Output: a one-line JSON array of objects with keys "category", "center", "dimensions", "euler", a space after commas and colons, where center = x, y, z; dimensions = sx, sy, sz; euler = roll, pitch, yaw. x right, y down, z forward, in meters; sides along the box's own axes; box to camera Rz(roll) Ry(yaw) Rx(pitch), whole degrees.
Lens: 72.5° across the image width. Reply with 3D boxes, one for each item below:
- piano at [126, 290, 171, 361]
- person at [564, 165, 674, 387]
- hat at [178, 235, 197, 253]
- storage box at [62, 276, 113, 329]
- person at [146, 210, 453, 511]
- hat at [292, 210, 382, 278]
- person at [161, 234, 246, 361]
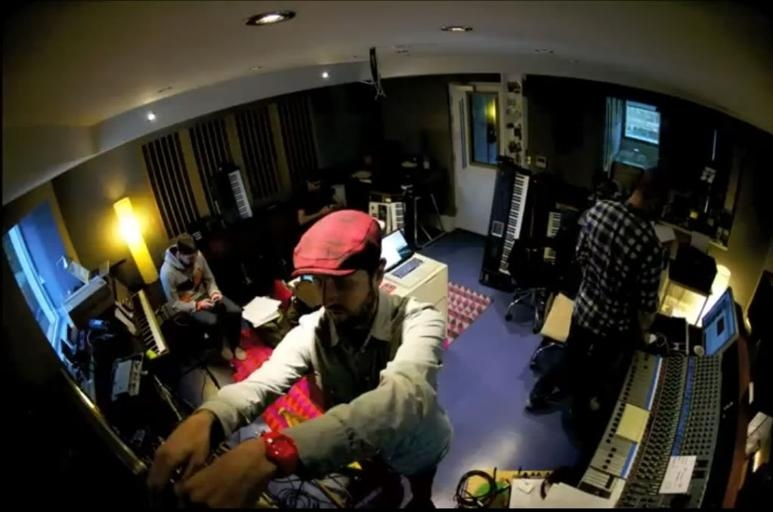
[{"category": "piano", "center": [-2.190, 0.634, 4.835], "dimensions": [0.187, 0.132, 0.664], "euler": [-18, 66, -33]}, {"category": "person", "center": [1.644, 0.215, 3.851], "dimensions": [0.431, 1.732, 0.637], "euler": [-10, 26, -7]}, {"category": "hat", "center": [-1.954, -0.119, 5.173], "dimensions": [0.148, 0.181, 0.190], "euler": [-46, 26, -26]}, {"category": "storage box", "center": [-2.207, 0.339, 3.857], "dimensions": [0.110, 0.307, 0.316], "euler": [25, 47, 13]}, {"category": "person", "center": [-0.338, 0.560, 2.682], "dimensions": [1.013, 1.353, 1.521], "euler": [13, 31, 35]}, {"category": "hat", "center": [-0.263, -0.103, 2.833], "dimensions": [0.482, 0.210, 0.660], "euler": [3, 28, 16]}, {"category": "person", "center": [-1.997, 0.438, 5.643], "dimensions": [0.689, 1.173, 0.500], "euler": [26, 64, 10]}]
